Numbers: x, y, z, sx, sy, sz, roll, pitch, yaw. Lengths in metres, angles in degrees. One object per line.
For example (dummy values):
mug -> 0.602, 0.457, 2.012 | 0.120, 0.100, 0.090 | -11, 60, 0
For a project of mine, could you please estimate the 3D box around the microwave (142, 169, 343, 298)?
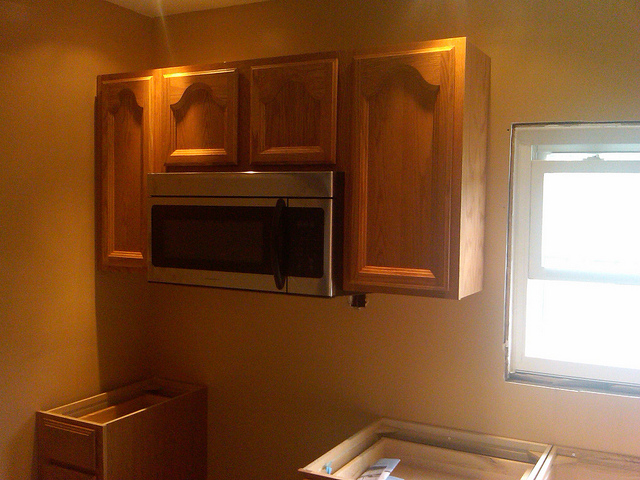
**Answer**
microwave -> -0.356, -0.048, 2.502 | 0.824, 0.567, 0.442 | 3, 9, 12
